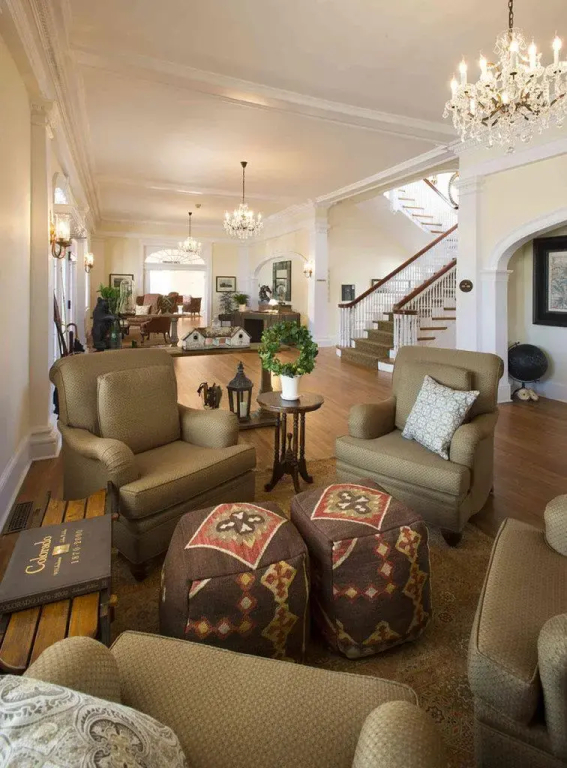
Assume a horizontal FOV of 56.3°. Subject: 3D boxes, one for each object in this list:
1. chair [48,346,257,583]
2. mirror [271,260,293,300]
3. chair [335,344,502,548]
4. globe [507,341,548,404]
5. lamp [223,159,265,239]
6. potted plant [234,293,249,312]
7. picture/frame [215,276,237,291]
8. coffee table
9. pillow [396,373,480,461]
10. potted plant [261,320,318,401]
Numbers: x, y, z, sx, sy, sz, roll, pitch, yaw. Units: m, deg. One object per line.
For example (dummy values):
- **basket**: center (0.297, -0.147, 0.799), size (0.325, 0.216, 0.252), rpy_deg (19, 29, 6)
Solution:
- **chair**: center (-0.701, 0.340, 2.822), size (0.883, 0.937, 0.773), rpy_deg (12, 19, 36)
- **mirror**: center (-0.018, -2.570, 13.158), size (0.079, 1.180, 1.023), rpy_deg (-3, 7, -23)
- **chair**: center (0.805, 0.320, 3.076), size (0.905, 0.934, 0.855), rpy_deg (-6, 13, -38)
- **globe**: center (2.852, -0.145, 6.192), size (0.445, 0.638, 0.406), rpy_deg (-9, 14, -44)
- **lamp**: center (-0.626, -2.996, 8.605), size (0.553, 1.248, 0.545), rpy_deg (-5, 11, -16)
- **potted plant**: center (-1.135, -2.229, 14.396), size (0.503, 0.513, 0.490), rpy_deg (-4, 9, -42)
- **picture/frame**: center (-1.660, -2.865, 15.059), size (0.451, 0.384, 0.048), rpy_deg (-2, 17, -25)
- **coffee table**: center (0.042, 0.388, 3.357), size (0.387, 0.543, 0.393), rpy_deg (0, 4, -11)
- **pillow**: center (0.868, 0.193, 2.921), size (0.114, 0.385, 0.378), rpy_deg (24, 4, -32)
- **potted plant**: center (0.008, -0.143, 3.244), size (0.363, 0.477, 0.199), rpy_deg (8, 12, 38)
